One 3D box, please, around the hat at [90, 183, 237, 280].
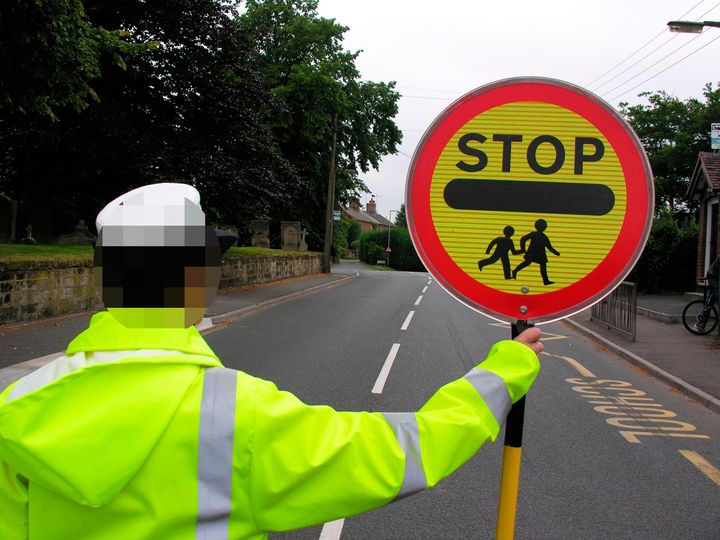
[{"bbox_3d":[-0.538,-0.096,1.671,0.230,0.128,0.336,9,28,22],"label":"hat"}]
